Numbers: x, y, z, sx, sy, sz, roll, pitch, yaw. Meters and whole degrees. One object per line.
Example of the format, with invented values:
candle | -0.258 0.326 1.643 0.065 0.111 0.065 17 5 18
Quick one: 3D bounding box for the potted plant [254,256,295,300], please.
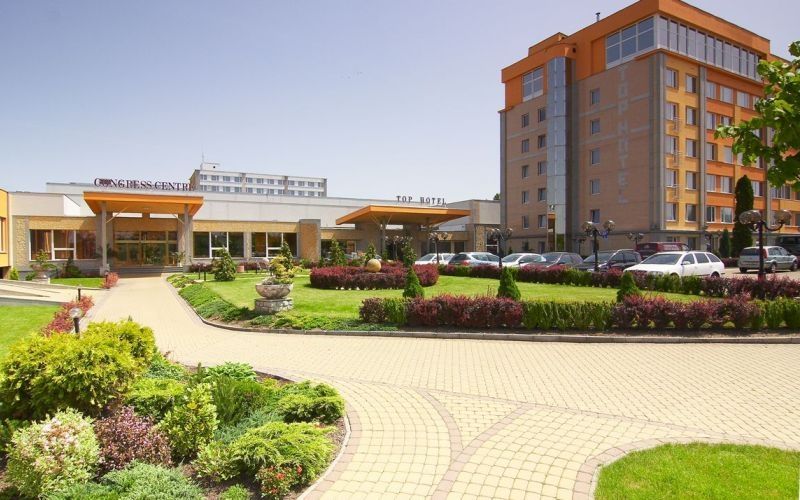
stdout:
potted plant | -4.283 0.975 20.598 1.179 1.502 0.917 -1 -2 -13
